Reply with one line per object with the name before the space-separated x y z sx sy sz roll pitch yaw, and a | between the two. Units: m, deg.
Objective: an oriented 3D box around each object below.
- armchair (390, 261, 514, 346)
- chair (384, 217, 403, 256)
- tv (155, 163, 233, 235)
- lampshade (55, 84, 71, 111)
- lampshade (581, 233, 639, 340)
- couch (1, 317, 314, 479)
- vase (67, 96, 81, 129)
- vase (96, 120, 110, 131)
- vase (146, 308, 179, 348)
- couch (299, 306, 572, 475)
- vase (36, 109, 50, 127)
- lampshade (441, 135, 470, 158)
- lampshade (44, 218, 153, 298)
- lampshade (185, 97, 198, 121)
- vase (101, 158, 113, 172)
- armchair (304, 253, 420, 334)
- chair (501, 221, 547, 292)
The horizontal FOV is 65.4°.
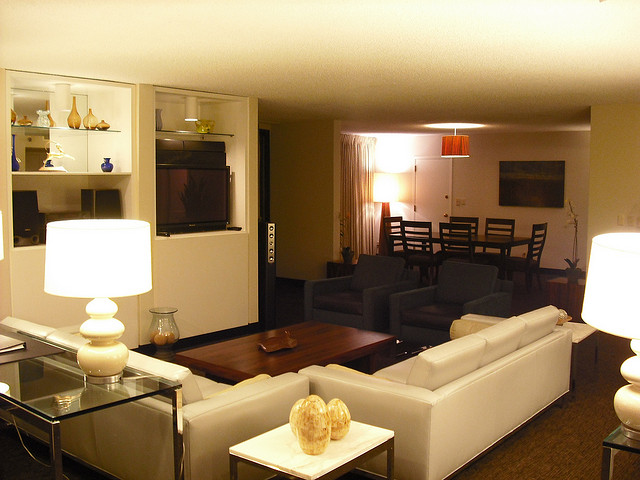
armchair | 1.484 0.726 5.425 1.277 0.939 1.291 -1 4 -11
chair | 1.413 -0.129 9.248 0.400 0.707 0.438 1 21 24
tv | -1.470 -0.470 5.758 1.043 0.765 0.051 1 1 23
lampshade | -2.482 -1.359 4.792 0.141 0.251 0.100 -5 9 -29
lampshade | 1.192 0.195 2.061 0.153 0.365 0.284 0 7 4
couch | -0.842 0.963 2.738 1.524 0.721 0.797 -1 7 -3
vase | -2.356 -1.201 4.761 0.114 0.281 0.283 -6 9 -35
vase | -2.178 -1.142 4.981 0.089 0.064 0.077 -9 13 -40
vase | -1.591 0.898 5.059 0.308 0.428 0.312 -4 16 -28
couch | 0.961 0.945 3.298 1.880 0.740 0.569 -6 9 -38
vase | -2.600 -1.125 4.664 0.116 0.157 0.180 -4 8 -28
lampshade | 2.413 -1.667 8.886 0.436 0.357 0.593 1 7 10
lampshade | -0.991 0.085 2.284 0.392 0.259 0.404 4 6 41
lampshade | -1.468 -1.481 5.653 0.144 0.242 0.102 0 8 2
vase | -2.173 -0.759 5.068 0.106 0.142 0.145 -4 8 -24
armchair | 0.534 0.682 6.081 1.197 0.910 1.258 2 3 24
chair | 3.412 0.290 8.311 0.651 1.041 0.615 -2 4 -5
